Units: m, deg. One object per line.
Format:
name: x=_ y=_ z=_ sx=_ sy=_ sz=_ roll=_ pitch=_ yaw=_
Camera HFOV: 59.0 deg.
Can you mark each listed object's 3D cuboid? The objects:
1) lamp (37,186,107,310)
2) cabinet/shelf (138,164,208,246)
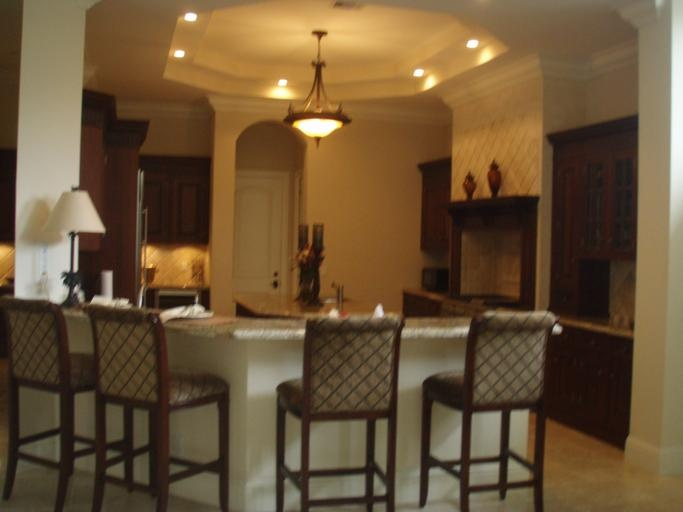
lamp: x=-1.945 y=-0.080 z=4.370 sx=0.415 sy=0.596 sz=0.382 roll=2 pitch=1 yaw=33
cabinet/shelf: x=-2.240 y=-0.697 z=7.927 sx=0.935 sy=1.038 sz=0.384 roll=0 pitch=4 yaw=-5
